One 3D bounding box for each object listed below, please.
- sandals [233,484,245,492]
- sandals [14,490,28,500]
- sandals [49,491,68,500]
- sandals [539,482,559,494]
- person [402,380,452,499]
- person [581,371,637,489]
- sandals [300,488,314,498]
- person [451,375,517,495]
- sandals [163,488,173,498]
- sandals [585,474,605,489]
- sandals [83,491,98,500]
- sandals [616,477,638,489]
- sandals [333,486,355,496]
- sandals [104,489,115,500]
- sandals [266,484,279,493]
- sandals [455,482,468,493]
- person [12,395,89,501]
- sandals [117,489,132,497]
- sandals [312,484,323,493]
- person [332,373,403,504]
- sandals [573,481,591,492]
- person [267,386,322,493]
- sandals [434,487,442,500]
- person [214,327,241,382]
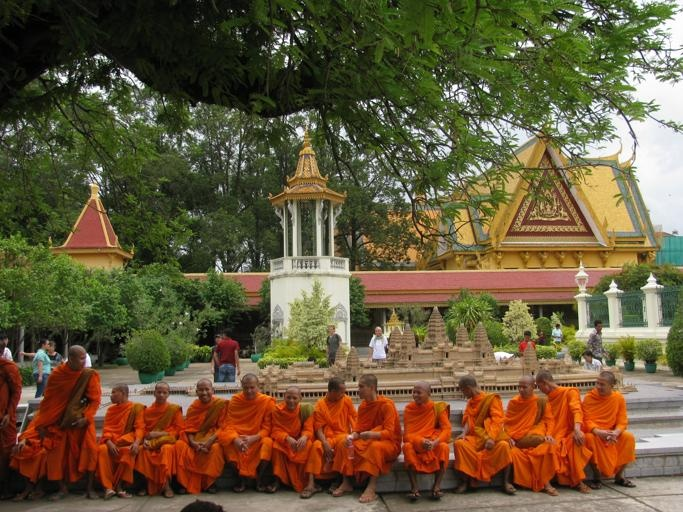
[{"bbox_3d":[-1.112,2.504,8.930,0.128,0.077,0.103,-2,-7,14],"label":"sandals"},{"bbox_3d":[-3.396,2.531,8.730,0.124,0.095,0.169,7,-10,-43],"label":"sandals"},{"bbox_3d":[-2.987,2.526,8.725,0.179,0.079,0.119,3,-8,-19],"label":"sandals"},{"bbox_3d":[2.196,2.448,8.764,0.158,0.134,0.276,-1,-8,10],"label":"sandals"},{"bbox_3d":[0.899,1.955,8.806,0.495,1.201,0.375,0,-7,3],"label":"person"},{"bbox_3d":[2.891,1.872,8.992,0.539,1.213,0.390,-2,-7,13],"label":"person"},{"bbox_3d":[-0.352,2.494,8.693,0.158,0.086,0.109,3,-8,-25],"label":"sandals"},{"bbox_3d":[1.535,1.917,9.004,0.641,1.227,0.519,-1,-7,7],"label":"person"},{"bbox_3d":[-1.843,2.519,8.797,0.104,0.083,0.115,2,-7,-13],"label":"sandals"},{"bbox_3d":[2.699,2.415,8.856,0.111,0.090,0.271,-1,-9,3],"label":"sandals"},{"bbox_3d":[-2.641,2.542,8.749,0.060,0.063,0.159,6,-16,-34],"label":"sandals"},{"bbox_3d":[3.028,2.422,8.837,0.186,0.086,0.213,1,-8,-11],"label":"sandals"},{"bbox_3d":[0.012,2.470,8.754,0.215,0.166,0.082,8,-18,-38],"label":"sandals"},{"bbox_3d":[-2.450,2.515,8.720,0.057,0.053,0.134,8,-4,8],"label":"sandals"},{"bbox_3d":[-0.749,2.496,8.889,0.132,0.087,0.170,0,-7,-2],"label":"sandals"},{"bbox_3d":[1.282,2.474,8.818,0.188,0.117,0.063,7,-8,-32],"label":"sandals"},{"bbox_3d":[-3.092,2.091,8.856,0.865,1.317,0.708,3,-14,-7],"label":"person"},{"bbox_3d":[-2.304,2.530,8.796,0.132,0.070,0.142,5,-9,-33],"label":"sandals"},{"bbox_3d":[-0.268,2.487,8.847,0.095,0.045,0.129,2,-2,3],"label":"sandals"},{"bbox_3d":[0.277,1.921,8.814,0.534,1.287,0.515,-4,-8,33],"label":"person"},{"bbox_3d":[2.562,2.433,8.746,0.156,0.108,0.158,0,-7,1],"label":"sandals"},{"bbox_3d":[-0.545,1.999,9.005,0.474,1.072,0.359,1,-7,-6],"label":"person"},{"bbox_3d":[0.997,2.487,8.660,0.058,0.088,0.124,5,-12,-22],"label":"sandals"},{"bbox_3d":[-2.012,1.752,14.408,0.422,0.890,1.166,1,-7,-9],"label":"person"}]
